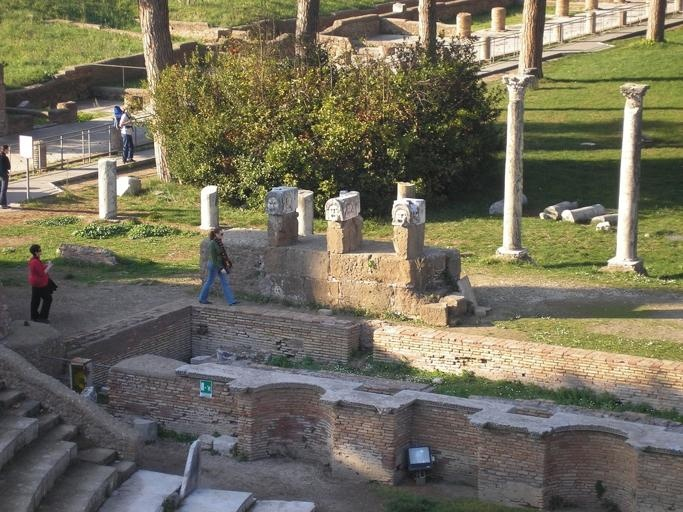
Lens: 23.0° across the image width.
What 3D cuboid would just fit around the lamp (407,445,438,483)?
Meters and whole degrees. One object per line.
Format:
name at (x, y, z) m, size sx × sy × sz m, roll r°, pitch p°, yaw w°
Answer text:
lamp at (1.696, 4.353, 35.249) m, size 0.577 × 0.753 × 0.337 m, roll -3°, pitch 15°, yaw 1°

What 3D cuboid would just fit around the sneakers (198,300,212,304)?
sneakers at (-3.247, 1.038, 39.385) m, size 0.288 × 0.110 × 0.099 m, roll 1°, pitch 16°, yaw -5°

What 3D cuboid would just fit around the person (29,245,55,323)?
person at (-6.881, 0.632, 38.089) m, size 0.658 × 1.853 × 1.138 m, roll -7°, pitch 15°, yaw -10°

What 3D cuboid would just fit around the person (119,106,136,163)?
person at (-6.563, -3.783, 50.945) m, size 0.465 × 1.694 × 1.096 m, roll -6°, pitch 15°, yaw -7°

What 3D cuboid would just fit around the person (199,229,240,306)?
person at (-2.988, 0.178, 39.414) m, size 0.854 × 1.766 × 0.874 m, roll -5°, pitch 15°, yaw -5°
